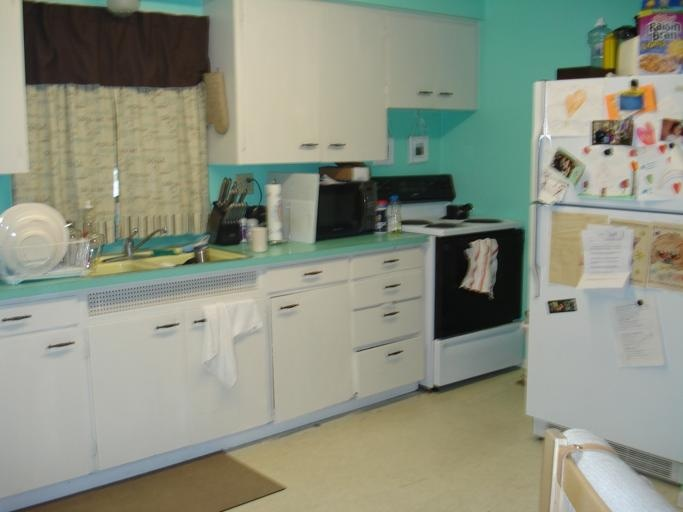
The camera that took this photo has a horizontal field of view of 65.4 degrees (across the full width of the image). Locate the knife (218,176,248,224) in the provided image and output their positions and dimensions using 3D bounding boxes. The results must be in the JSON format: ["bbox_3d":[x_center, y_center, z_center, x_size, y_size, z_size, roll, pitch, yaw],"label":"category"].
[{"bbox_3d":[-0.664,-0.372,3.322,0.168,0.291,0.076,10,-18,-37],"label":"knife"}]

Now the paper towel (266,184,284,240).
[{"bbox_3d":[-0.416,-0.268,3.269,0.101,0.349,0.165,-2,14,-6],"label":"paper towel"}]

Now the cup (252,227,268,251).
[{"bbox_3d":[-0.471,-0.099,3.033,0.084,0.133,0.115,-3,14,-13],"label":"cup"}]

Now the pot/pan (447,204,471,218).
[{"bbox_3d":[0.902,-0.359,4.075,0.107,0.115,0.159,-7,13,-33],"label":"pot/pan"}]

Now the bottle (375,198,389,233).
[{"bbox_3d":[0.272,-0.272,3.597,0.081,0.203,0.136,1,14,5],"label":"bottle"}]

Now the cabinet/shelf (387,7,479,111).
[{"bbox_3d":[0.827,-1.459,3.960,0.503,0.659,0.933,-27,35,-36],"label":"cabinet/shelf"}]

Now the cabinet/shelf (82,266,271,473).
[{"bbox_3d":[-0.920,0.517,3.058,1.258,1.082,0.793,-5,5,-39],"label":"cabinet/shelf"}]

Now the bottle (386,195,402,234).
[{"bbox_3d":[0.361,-0.293,3.630,0.094,0.239,0.148,1,14,6],"label":"bottle"}]

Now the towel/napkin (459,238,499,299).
[{"bbox_3d":[0.909,0.069,3.567,0.222,0.392,0.394,6,2,38],"label":"towel/napkin"}]

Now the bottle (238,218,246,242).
[{"bbox_3d":[-0.600,-0.158,3.237,0.042,0.138,0.062,-3,14,-12],"label":"bottle"}]

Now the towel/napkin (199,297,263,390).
[{"bbox_3d":[-0.597,0.443,2.788,0.088,0.545,0.458,0,6,44],"label":"towel/napkin"}]

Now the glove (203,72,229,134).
[{"bbox_3d":[-0.737,-0.897,3.116,0.081,0.312,0.303,-2,6,-25],"label":"glove"}]

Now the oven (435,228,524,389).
[{"bbox_3d":[0.835,0.283,4.008,0.809,1.083,0.771,-7,13,-21],"label":"oven"}]
